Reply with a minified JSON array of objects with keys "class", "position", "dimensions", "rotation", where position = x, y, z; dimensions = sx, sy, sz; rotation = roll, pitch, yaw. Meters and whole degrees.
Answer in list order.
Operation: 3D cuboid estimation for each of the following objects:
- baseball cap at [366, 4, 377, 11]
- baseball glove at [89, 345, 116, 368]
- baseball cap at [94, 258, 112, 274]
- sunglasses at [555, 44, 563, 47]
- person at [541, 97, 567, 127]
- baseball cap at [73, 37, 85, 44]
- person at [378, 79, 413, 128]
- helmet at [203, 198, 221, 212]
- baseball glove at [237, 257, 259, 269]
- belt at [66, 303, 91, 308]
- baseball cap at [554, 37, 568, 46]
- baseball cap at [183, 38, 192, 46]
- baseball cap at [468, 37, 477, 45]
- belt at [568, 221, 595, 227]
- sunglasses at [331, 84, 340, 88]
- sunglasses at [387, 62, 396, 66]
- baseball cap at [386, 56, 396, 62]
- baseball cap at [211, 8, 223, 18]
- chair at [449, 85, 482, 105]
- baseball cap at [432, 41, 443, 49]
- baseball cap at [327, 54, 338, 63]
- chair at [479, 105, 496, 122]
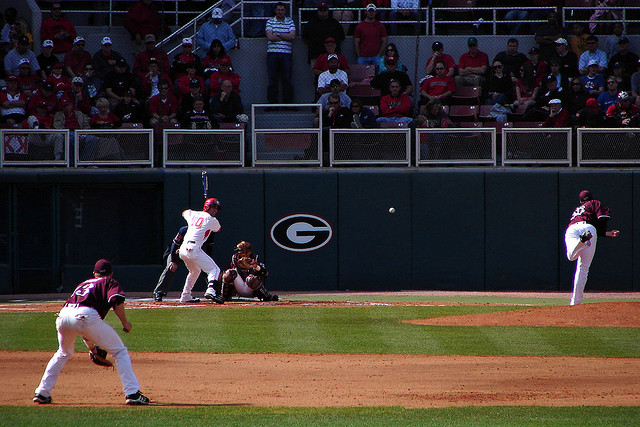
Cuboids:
[{"class":"baseball cap","position":[1.550,-6.227,41.337],"dimensions":[0.323,0.193,0.533],"rotation":[1,-1,1]},{"class":"baseball glove","position":[-4.617,3.041,29.479],"dimensions":[0.701,0.317,0.259],"rotation":[32,46,14]},{"class":"baseball cap","position":[-4.626,1.125,29.624],"dimensions":[0.330,0.277,0.370],"rotation":[-1,5,-15]},{"class":"sunglasses","position":[6.959,-4.981,40.614],"dimensions":[0.067,0.076,0.200],"rotation":[-1,5,-23]},{"class":"person","position":[6.570,-2.863,38.830],"dimensions":[0.663,0.764,0.241],"rotation":[2,5,8]},{"class":"baseball cap","position":[-7.030,-5.125,40.553],"dimensions":[0.365,0.201,0.591],"rotation":[-4,0,-22]},{"class":"person","position":[2.155,-3.162,39.575],"dimensions":[1.265,1.823,1.119],"rotation":[-1,-11,1]},{"class":"helmet","position":[-2.743,-0.253,35.302],"dimensions":[0.407,0.339,0.293],"rotation":[-33,28,-20]},{"class":"baseball glove","position":[-1.827,1.254,35.403],"dimensions":[0.494,0.304,0.138],"rotation":[0,5,-4]},{"class":"belt","position":[-5.072,1.942,29.271],"dimensions":[0.513,0.067,0.055],"rotation":[1,5,7]},{"class":"baseball cap","position":[7.071,-5.100,40.578],"dimensions":[0.313,0.104,0.200],"rotation":[8,1,0]},{"class":"baseball cap","position":[-3.758,-5.073,40.218],"dimensions":[0.347,0.230,0.270],"rotation":[2,-1,-22]},{"class":"baseball cap","position":[4.466,-5.128,40.683],"dimensions":[0.237,0.218,0.405],"rotation":[1,5,5]},{"class":"belt","position":[6.510,0.233,34.582],"dimensions":[0.630,0.139,0.128],"rotation":[3,6,23]},{"class":"sunglasses","position":[0.453,-3.665,39.257],"dimensions":[0.176,0.091,0.056],"rotation":[1,5,2]},{"class":"sunglasses","position":[2.067,-4.383,40.122],"dimensions":[0.217,0.092,0.076],"rotation":[1,5,2]},{"class":"baseball cap","position":[2.064,-4.537,40.178],"dimensions":[0.272,0.169,0.232],"rotation":[1,5,1]},{"class":"baseball cap","position":[-3.032,-6.037,41.212],"dimensions":[0.287,0.295,0.358],"rotation":[0,5,-7]},{"class":"chair","position":[4.221,-3.470,40.073],"dimensions":[0.763,0.742,0.614],"rotation":[1,15,8]},{"class":"baseball cap","position":[3.461,-5.019,40.910],"dimensions":[0.277,0.195,0.412],"rotation":[1,5,4]},{"class":"baseball cap","position":[0.382,-4.556,40.193],"dimensions":[0.271,0.246,0.424],"rotation":[1,5,0]},{"class":"chair","position":[4.744,-2.902,39.612],"dimensions":[0.416,0.526,0.449],"rotation":[1,0,-1]}]
